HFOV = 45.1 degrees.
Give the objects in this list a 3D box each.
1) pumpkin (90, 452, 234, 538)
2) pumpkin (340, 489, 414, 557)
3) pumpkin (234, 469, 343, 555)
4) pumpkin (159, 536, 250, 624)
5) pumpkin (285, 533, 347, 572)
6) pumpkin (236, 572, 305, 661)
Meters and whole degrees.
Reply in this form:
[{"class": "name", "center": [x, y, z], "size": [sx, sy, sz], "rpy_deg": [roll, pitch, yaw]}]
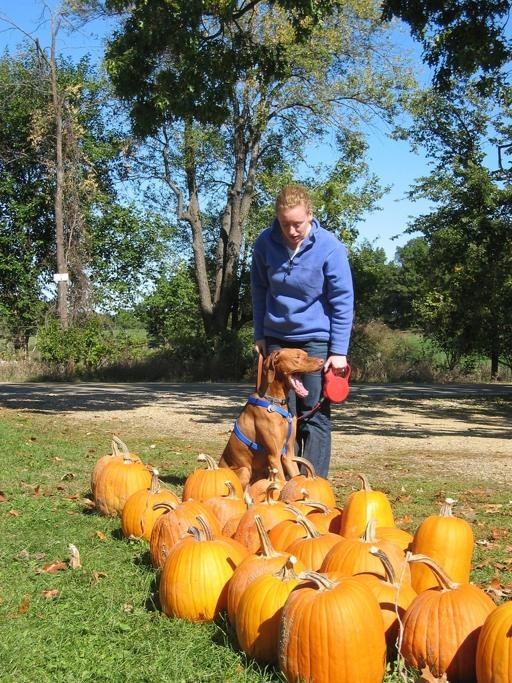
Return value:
[{"class": "pumpkin", "center": [-0.660, 0.996, 4.191], "size": [0.542, 0.680, 0.713], "rpy_deg": [0, 0, -38]}, {"class": "pumpkin", "center": [0.613, 0.945, 3.245], "size": [0.313, 0.465, 0.301], "rpy_deg": [-1, -14, -4]}, {"class": "pumpkin", "center": [0.156, 0.931, 3.421], "size": [0.378, 0.549, 0.409], "rpy_deg": [0, 1, 34]}, {"class": "pumpkin", "center": [-0.254, 1.044, 2.856], "size": [0.325, 0.308, 0.331], "rpy_deg": [4, 2, 22]}, {"class": "pumpkin", "center": [0.252, 0.953, 2.897], "size": [0.161, 0.151, 0.165], "rpy_deg": [-3, 11, 37]}, {"class": "pumpkin", "center": [0.035, 1.120, 2.493], "size": [0.269, 0.311, 0.269], "rpy_deg": [17, -36, -18]}]
